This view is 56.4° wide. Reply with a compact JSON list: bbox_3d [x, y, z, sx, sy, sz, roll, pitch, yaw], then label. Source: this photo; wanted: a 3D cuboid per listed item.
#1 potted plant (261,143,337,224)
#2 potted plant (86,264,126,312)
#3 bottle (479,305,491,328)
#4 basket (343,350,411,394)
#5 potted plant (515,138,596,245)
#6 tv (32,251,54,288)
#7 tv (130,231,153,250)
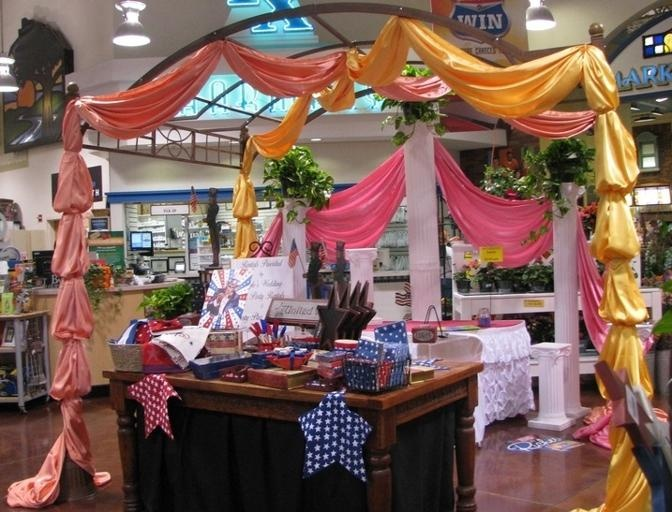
[{"bbox_3d":[-0.383,-0.797,7.170,0.802,0.826,0.817,1,0,1],"label":"potted plant"},{"bbox_3d":[-2.892,0.361,7.821,0.197,0.524,0.658,0,8,14],"label":"potted plant"},{"bbox_3d":[1.455,0.615,6.189,0.120,0.173,0.170,2,-10,-14],"label":"bottle"},{"bbox_3d":[0.216,0.617,3.495,0.235,0.162,0.246,0,0,38],"label":"basket"},{"bbox_3d":[2.417,-0.680,6.935,0.800,1.129,1.067,1,3,20],"label":"potted plant"},{"bbox_3d":[-3.747,0.174,8.030,0.238,0.435,0.451,-6,9,-26],"label":"tv"},{"bbox_3d":[-4.125,-0.299,13.469,0.642,0.545,0.334,0,0,-10],"label":"tv"}]
